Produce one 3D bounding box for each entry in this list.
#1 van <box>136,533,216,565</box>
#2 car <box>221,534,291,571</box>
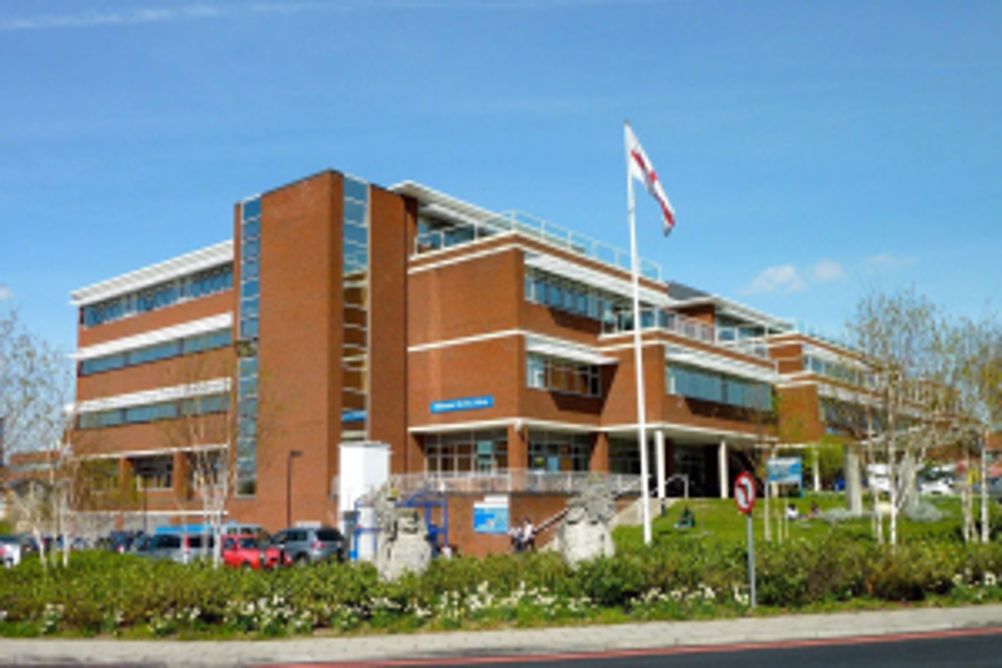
[{"bbox_3d":[-13.359,8.894,39.211,2.998,1.483,1.868,-1,-11,28],"label":"van"},{"bbox_3d":[-10.258,9.076,39.364,4.116,1.428,1.883,-11,-13,42],"label":"car"}]
